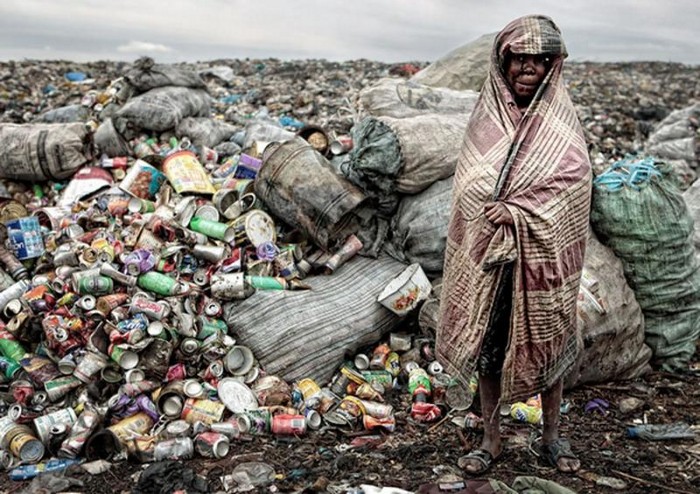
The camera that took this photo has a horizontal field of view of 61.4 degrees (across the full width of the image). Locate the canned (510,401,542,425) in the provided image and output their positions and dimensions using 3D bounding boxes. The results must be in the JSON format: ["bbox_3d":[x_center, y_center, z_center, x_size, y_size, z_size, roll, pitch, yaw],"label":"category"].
[{"bbox_3d":[1.317,1.251,4.422,0.225,0.077,0.148,12,55,16],"label":"canned"}]

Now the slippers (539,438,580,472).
[{"bbox_3d":[1.414,1.396,3.980,0.142,0.101,0.258,-28,28,-9],"label":"slippers"}]

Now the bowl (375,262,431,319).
[{"bbox_3d":[0.487,0.407,4.902,0.211,0.435,0.369,51,6,8],"label":"bowl"}]
